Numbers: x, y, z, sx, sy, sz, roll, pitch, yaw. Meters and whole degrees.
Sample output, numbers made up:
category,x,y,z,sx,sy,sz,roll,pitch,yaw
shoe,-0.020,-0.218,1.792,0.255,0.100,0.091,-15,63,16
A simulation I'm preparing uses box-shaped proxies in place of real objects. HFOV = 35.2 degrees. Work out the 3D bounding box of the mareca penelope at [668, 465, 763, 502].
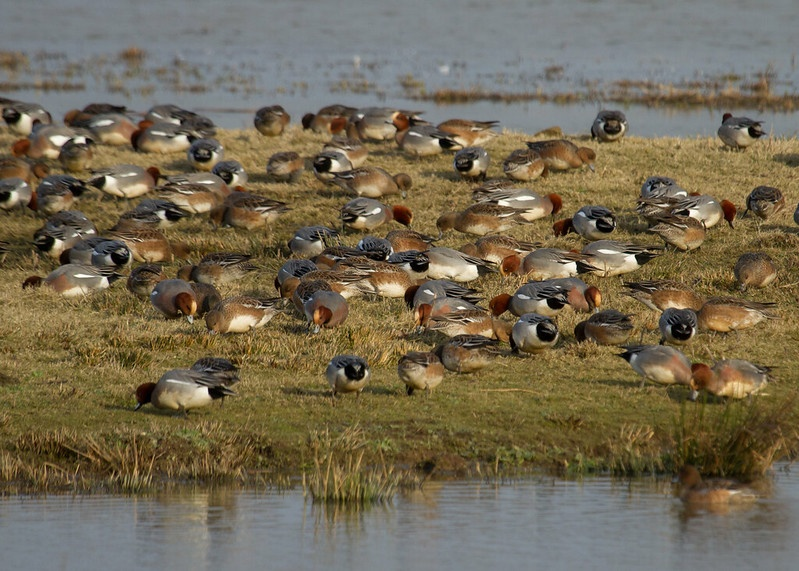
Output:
category,x,y,z,sx,sy,sz,roll,pitch,yaw
mareca penelope,3.982,2.502,15.900,0.866,0.307,0.472,0,-3,14
